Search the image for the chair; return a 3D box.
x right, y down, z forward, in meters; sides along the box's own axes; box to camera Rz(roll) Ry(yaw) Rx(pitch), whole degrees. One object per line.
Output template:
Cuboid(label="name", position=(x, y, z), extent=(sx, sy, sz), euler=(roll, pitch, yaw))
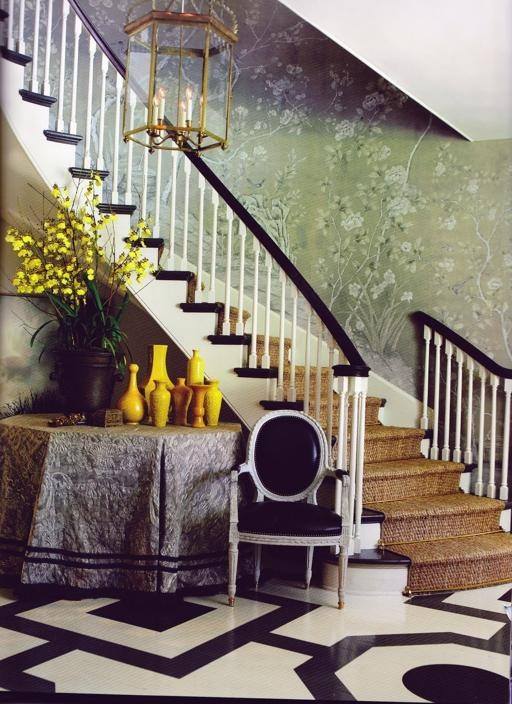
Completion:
Cuboid(label="chair", position=(0.120, 0.673, 3.172), extent=(0.588, 0.710, 0.538), euler=(3, 1, -35))
